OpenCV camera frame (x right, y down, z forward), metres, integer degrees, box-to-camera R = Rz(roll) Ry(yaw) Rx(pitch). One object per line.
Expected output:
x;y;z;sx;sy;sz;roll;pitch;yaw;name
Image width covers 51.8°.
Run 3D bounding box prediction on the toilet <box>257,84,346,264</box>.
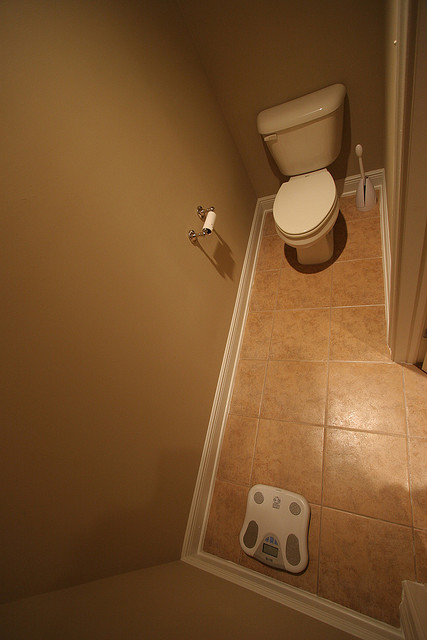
0.427;-0.587;1.988;0.308;0.596;0.589;-7;44;20;toilet
